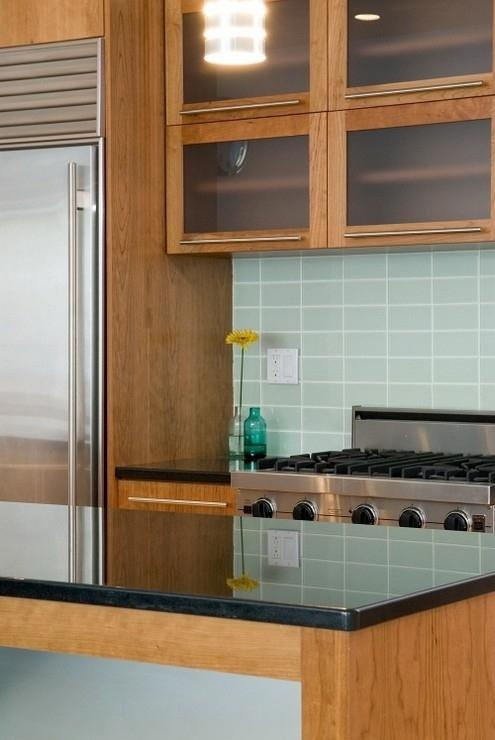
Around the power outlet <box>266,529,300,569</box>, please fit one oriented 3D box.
[{"bbox_3d":[0.050,0.254,0.969,0.037,0.007,0.043,-1,33,4],"label":"power outlet"}]

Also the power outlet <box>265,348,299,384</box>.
[{"bbox_3d":[0.162,-0.020,3.088,0.152,0.164,0.017,-2,-3,34],"label":"power outlet"}]
